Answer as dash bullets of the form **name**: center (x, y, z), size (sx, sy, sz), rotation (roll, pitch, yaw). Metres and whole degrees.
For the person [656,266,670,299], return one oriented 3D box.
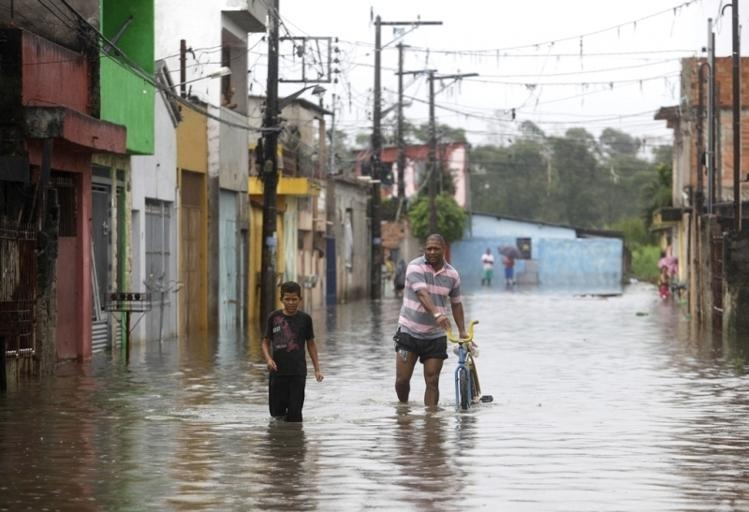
- **person**: center (9.959, 0.917, 49.880), size (0.275, 1.129, 0.930), rotation (0, -2, 15)

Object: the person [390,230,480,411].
- **person**: center (0.813, 0.986, 22.143), size (1.114, 2.647, 1.147), rotation (0, -2, 15)

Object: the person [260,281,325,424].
- **person**: center (-1.254, 1.400, 21.387), size (0.797, 2.066, 0.568), rotation (1, -2, -3)

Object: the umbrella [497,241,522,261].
- **umbrella**: center (6.357, -0.221, 68.176), size (0.989, 0.531, 1.032), rotation (0, -3, 10)

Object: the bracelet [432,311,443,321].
- **bracelet**: center (0.929, 0.883, 21.607), size (0.114, 0.114, 0.105), rotation (0, 7, 2)
